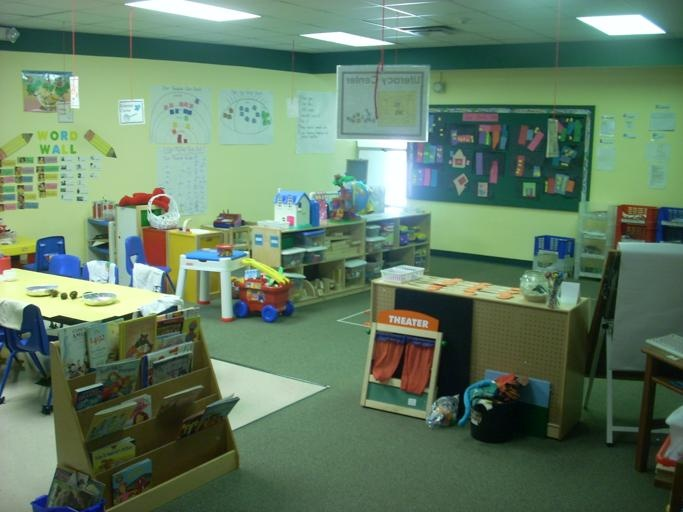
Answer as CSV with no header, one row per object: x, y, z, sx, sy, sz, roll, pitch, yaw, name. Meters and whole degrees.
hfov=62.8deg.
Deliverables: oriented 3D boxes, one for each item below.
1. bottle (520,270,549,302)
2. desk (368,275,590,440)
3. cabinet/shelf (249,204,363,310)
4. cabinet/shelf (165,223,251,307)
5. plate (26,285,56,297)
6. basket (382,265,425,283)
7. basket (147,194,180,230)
1.591,0.251,4.690,0.229,0.216,0.226,-1,6,-9,bottle
1.261,0.835,4.951,1.684,1.132,0.539,8,16,24,desk
-0.443,0.088,8.283,0.598,1.202,1.822,7,10,39,cabinet/shelf
-2.133,-0.073,8.383,1.370,1.435,1.039,8,13,36,cabinet/shelf
-2.806,0.308,5.245,0.260,0.058,0.375,-6,16,-27,plate
0.615,0.168,5.345,0.199,0.068,0.296,4,6,36,basket
-2.567,-0.631,8.161,0.576,0.541,0.428,0,-5,-40,basket
